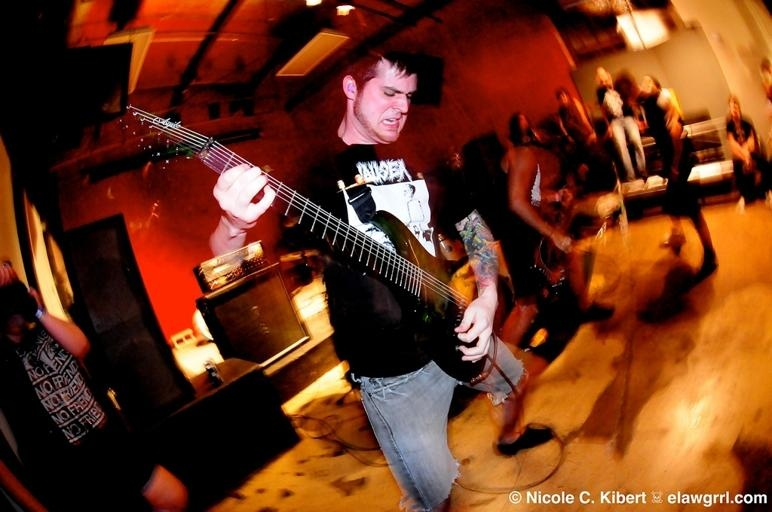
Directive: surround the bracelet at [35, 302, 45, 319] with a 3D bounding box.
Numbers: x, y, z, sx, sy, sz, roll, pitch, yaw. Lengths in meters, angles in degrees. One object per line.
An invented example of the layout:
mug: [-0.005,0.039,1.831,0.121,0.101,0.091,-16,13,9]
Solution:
bracelet: [-1.606,0.259,2.227,0.012,0.053,0.053,-3,20,-15]
